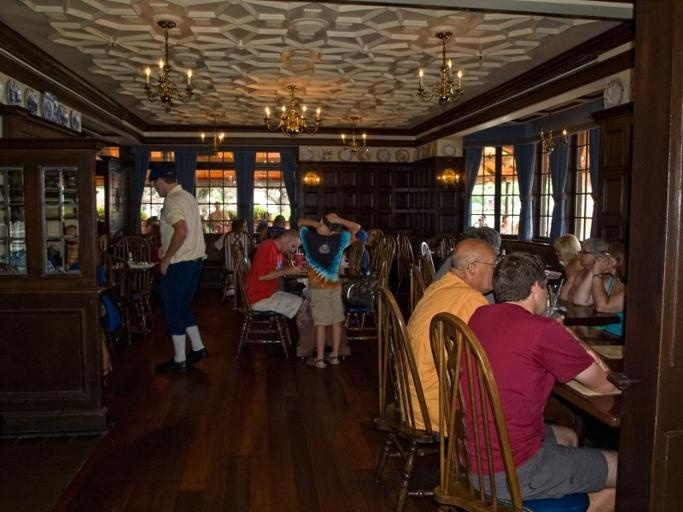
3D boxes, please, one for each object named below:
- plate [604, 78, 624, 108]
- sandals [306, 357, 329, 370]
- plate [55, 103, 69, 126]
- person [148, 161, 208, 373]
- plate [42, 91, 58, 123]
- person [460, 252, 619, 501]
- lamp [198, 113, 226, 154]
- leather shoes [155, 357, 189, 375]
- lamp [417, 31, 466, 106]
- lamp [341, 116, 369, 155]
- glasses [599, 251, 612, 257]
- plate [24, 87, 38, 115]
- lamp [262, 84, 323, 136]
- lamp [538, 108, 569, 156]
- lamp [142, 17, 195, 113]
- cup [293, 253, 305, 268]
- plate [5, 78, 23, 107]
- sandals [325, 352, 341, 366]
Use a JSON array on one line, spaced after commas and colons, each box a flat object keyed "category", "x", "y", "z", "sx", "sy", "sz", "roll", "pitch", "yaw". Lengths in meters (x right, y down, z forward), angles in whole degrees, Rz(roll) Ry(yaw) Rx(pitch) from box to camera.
[{"category": "plate", "x": 2.967, "y": -1.762, "z": 5.609, "sx": 0.052, "sy": 0.240, "sz": 0.233, "roll": 0, "pitch": 26, "yaw": -14}, {"category": "sandals", "x": -0.248, "y": 1.085, "z": 5.201, "sx": 0.103, "sy": 0.073, "sz": 0.177, "roll": -3, "pitch": 12, "yaw": -41}, {"category": "plate", "x": -3.750, "y": -1.910, "z": 6.924, "sx": 0.072, "sy": 0.284, "sz": 0.508, "roll": -2, "pitch": 7, "yaw": -18}, {"category": "person", "x": -1.564, "y": 0.130, "z": 4.954, "sx": 0.496, "sy": 1.988, "sz": 0.421, "roll": -1, "pitch": 7, "yaw": -15}, {"category": "plate", "x": -3.709, "y": -1.896, "z": 6.540, "sx": 0.082, "sy": 0.341, "sz": 0.467, "roll": -2, "pitch": 7, "yaw": -16}, {"category": "person", "x": 0.906, "y": 0.541, "z": 2.307, "sx": 0.648, "sy": 1.090, "sz": 0.533, "roll": 3, "pitch": 7, "yaw": 17}, {"category": "lamp", "x": -2.424, "y": -2.306, "z": 9.810, "sx": 0.439, "sy": 0.744, "sz": 0.442, "roll": 0, "pitch": 6, "yaw": -14}, {"category": "leather shoes", "x": -1.647, "y": 1.084, "z": 5.037, "sx": 0.312, "sy": 0.132, "sz": 0.134, "roll": 3, "pitch": -5, "yaw": -2}, {"category": "lamp", "x": 1.114, "y": -2.010, "z": 5.599, "sx": 0.487, "sy": 0.776, "sz": 0.512, "roll": 2, "pitch": 27, "yaw": 9}, {"category": "lamp", "x": 0.256, "y": -2.394, "z": 10.366, "sx": 0.457, "sy": 0.703, "sz": 0.407, "roll": 1, "pitch": 8, "yaw": 4}, {"category": "glasses", "x": 2.024, "y": -0.010, "z": 3.954, "sx": 0.066, "sy": 0.037, "sz": 0.097, "roll": 1, "pitch": 0, "yaw": 23}, {"category": "plate", "x": -3.665, "y": -1.838, "z": 6.095, "sx": 0.097, "sy": 0.303, "sz": 0.450, "roll": -2, "pitch": 8, "yaw": -22}, {"category": "lamp", "x": -0.704, "y": -2.080, "z": 7.576, "sx": 0.777, "sy": 0.667, "sz": 0.732, "roll": 0, "pitch": 1, "yaw": 14}, {"category": "lamp", "x": 3.767, "y": -2.169, "z": 9.331, "sx": 0.654, "sy": 0.625, "sz": 0.669, "roll": 2, "pitch": 0, "yaw": -10}, {"category": "lamp", "x": -1.834, "y": -1.978, "z": 5.414, "sx": 0.473, "sy": 0.909, "sz": 0.453, "roll": -9, "pitch": 21, "yaw": -35}, {"category": "cup", "x": -0.464, "y": 0.059, "z": 6.019, "sx": 0.144, "sy": 0.195, "sz": 0.148, "roll": 0, "pitch": 1, "yaw": 0}, {"category": "plate", "x": -3.594, "y": -1.789, "z": 5.647, "sx": 0.084, "sy": 0.302, "sz": 0.417, "roll": -2, "pitch": 7, "yaw": -20}, {"category": "sandals", "x": -0.088, "y": 1.067, "z": 5.303, "sx": 0.078, "sy": 0.075, "sz": 0.188, "roll": 0, "pitch": 7, "yaw": -11}]
